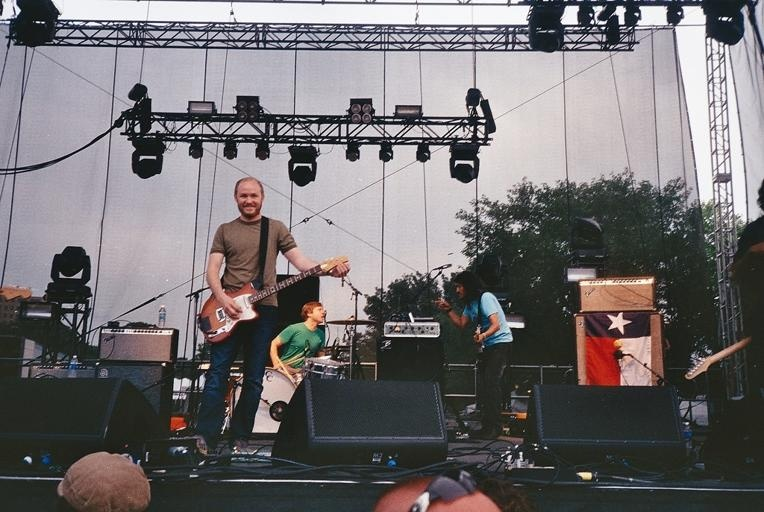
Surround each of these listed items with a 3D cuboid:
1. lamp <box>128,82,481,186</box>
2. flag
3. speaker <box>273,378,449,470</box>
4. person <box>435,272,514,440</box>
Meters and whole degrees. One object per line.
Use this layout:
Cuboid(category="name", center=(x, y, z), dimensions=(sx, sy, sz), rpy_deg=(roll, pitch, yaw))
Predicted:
Cuboid(category="lamp", center=(-1.202, -1.848, 14.207), dimensions=(5.587, 1.417, 1.588), rpy_deg=(0, -10, -1))
Cuboid(category="flag", center=(3.128, 1.212, 11.626), dimensions=(0.866, 0.917, 0.150), rpy_deg=(-1, -10, 7))
Cuboid(category="speaker", center=(-0.148, 1.776, 8.598), dimensions=(1.798, 1.008, 1.325), rpy_deg=(0, -3, -4))
Cuboid(category="person", center=(1.238, 1.287, 11.630), dimensions=(0.823, 2.162, 0.952), rpy_deg=(2, -7, -5))
